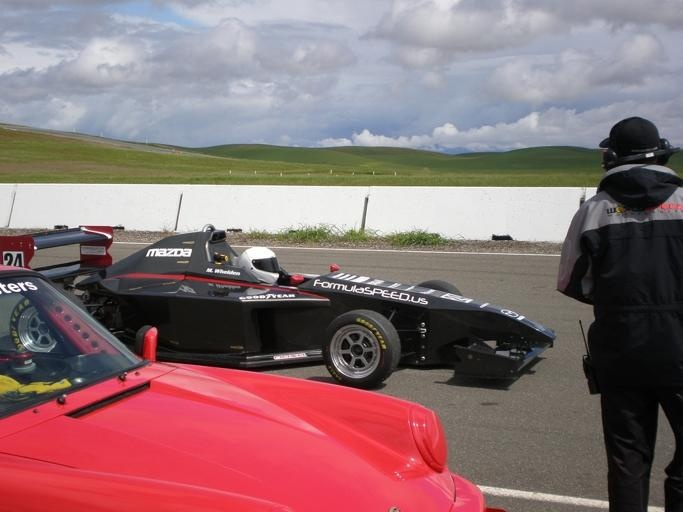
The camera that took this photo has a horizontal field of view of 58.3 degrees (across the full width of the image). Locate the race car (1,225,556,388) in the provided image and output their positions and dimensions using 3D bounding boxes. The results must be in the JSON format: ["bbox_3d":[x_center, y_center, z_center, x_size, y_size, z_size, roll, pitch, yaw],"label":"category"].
[{"bbox_3d":[-0.396,0.504,6.481,5.954,1.281,2.250,7,8,23],"label":"race car"}]
